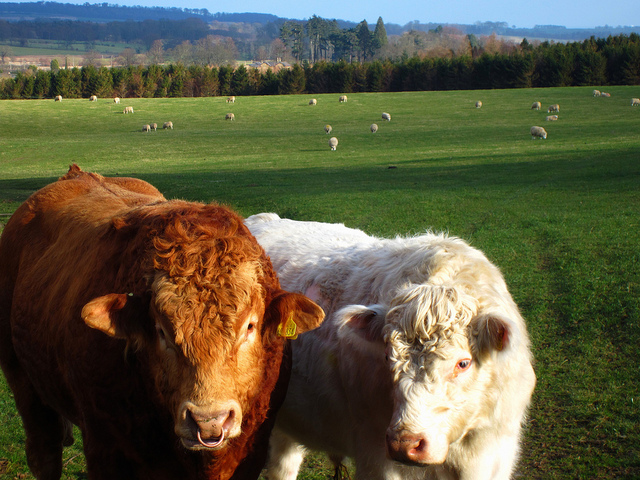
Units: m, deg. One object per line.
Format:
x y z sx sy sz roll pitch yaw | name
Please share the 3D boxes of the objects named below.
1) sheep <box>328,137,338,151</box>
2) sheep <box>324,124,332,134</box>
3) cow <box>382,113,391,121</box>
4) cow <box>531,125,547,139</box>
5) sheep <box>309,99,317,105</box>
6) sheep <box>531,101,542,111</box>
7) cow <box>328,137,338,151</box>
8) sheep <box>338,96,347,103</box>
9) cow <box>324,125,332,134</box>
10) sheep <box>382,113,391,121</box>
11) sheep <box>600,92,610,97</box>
0.804 -6.022 44.855 0.370 0.710 1.134 -3 10 0 | sheep
0.627 -8.424 54.739 0.417 0.591 0.947 -1 9 -2 | sheep
5.839 -10.844 63.361 0.400 0.791 1.336 -2 14 -3 | cow
13.026 -6.276 42.118 1.081 0.858 0.461 -12 18 -41 | cow
-0.800 -16.321 84.839 0.945 0.733 0.460 -4 3 -41 | sheep
19.015 -11.699 62.617 0.490 1.097 1.767 3 10 6 | sheep
0.826 -6.022 44.838 0.358 0.628 1.002 -3 14 1 | cow
2.786 -17.399 88.584 0.542 1.173 2.010 -2 7 -9 | sheep
0.627 -8.468 54.753 0.409 0.610 0.927 -1 8 -2 | cow
5.863 -10.927 63.500 0.331 0.680 1.084 9 0 25 | sheep
27.694 -14.059 69.449 0.547 0.369 0.848 -1 22 13 | sheep
